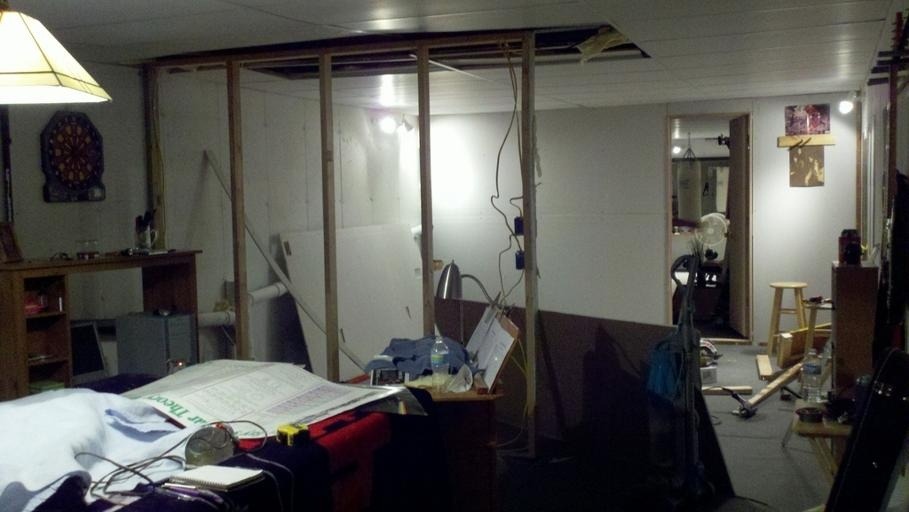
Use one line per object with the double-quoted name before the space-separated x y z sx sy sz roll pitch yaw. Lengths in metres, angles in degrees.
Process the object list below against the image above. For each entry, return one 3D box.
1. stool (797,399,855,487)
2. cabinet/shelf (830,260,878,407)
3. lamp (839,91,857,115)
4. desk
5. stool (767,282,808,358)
"stool" 3.047 1.517 5.732 0.400 0.674 1.003 1 5 26
"cabinet/shelf" 3.454 0.636 5.939 0.332 1.134 0.257 1 6 28
"lamp" 5.057 -1.974 8.823 0.204 0.273 0.286 1 5 27
"desk" -0.077 1.194 5.264 0.942 0.795 0.665 0 6 10
"stool" 4.304 0.773 8.864 0.445 0.897 0.791 1 5 26
